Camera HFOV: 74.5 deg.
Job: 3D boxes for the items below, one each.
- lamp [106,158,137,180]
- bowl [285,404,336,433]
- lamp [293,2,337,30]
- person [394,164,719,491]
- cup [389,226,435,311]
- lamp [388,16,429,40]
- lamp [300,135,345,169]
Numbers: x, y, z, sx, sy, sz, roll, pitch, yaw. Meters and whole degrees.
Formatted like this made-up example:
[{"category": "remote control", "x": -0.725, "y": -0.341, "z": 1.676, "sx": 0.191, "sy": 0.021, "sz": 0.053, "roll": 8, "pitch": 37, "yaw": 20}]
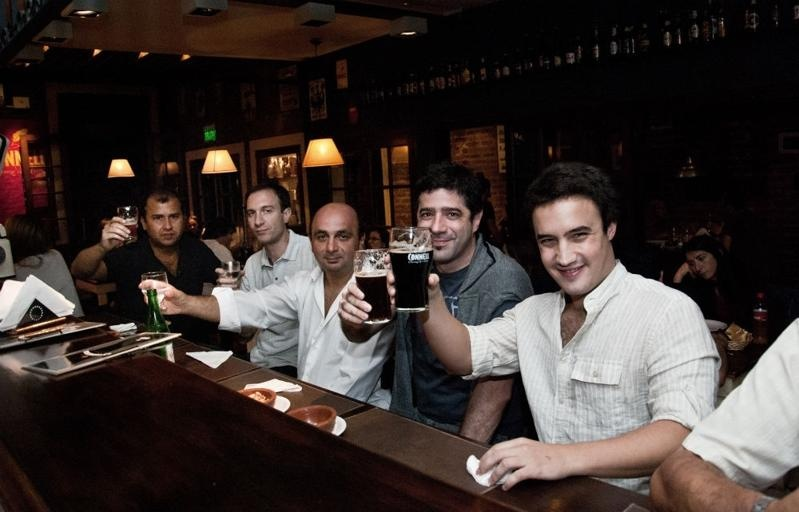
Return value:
[{"category": "lamp", "x": -5.119, "y": -1.619, "z": 9.625, "sx": 0.651, "sy": 0.374, "sz": 0.573, "roll": -4, "pitch": 5, "yaw": -26}, {"category": "bowl", "x": -0.314, "y": 0.565, "z": 1.835, "sx": 0.130, "sy": 0.048, "sz": 0.124, "roll": 1, "pitch": 6, "yaw": 0}, {"category": "lamp", "x": -0.790, "y": -2.287, "z": 4.882, "sx": 0.311, "sy": 0.214, "sz": 0.302, "roll": -4, "pitch": 12, "yaw": -27}, {"category": "person", "x": 0.641, "y": 0.505, "z": 2.154, "sx": 1.162, "sy": 1.596, "sz": 0.878, "roll": -3, "pitch": 8, "yaw": 32}, {"category": "cup", "x": 0.036, "y": 0.057, "z": 1.966, "sx": 0.157, "sy": 0.337, "sz": 0.184, "roll": 2, "pitch": 11, "yaw": 1}, {"category": "lamp", "x": 0.096, "y": -2.341, "z": 5.318, "sx": 0.244, "sy": 0.204, "sz": 0.371, "roll": 11, "pitch": 14, "yaw": 43}, {"category": "lamp", "x": -0.895, "y": -1.341, "z": 6.520, "sx": 0.514, "sy": 0.281, "sz": 0.509, "roll": 4, "pitch": 13, "yaw": 24}]
